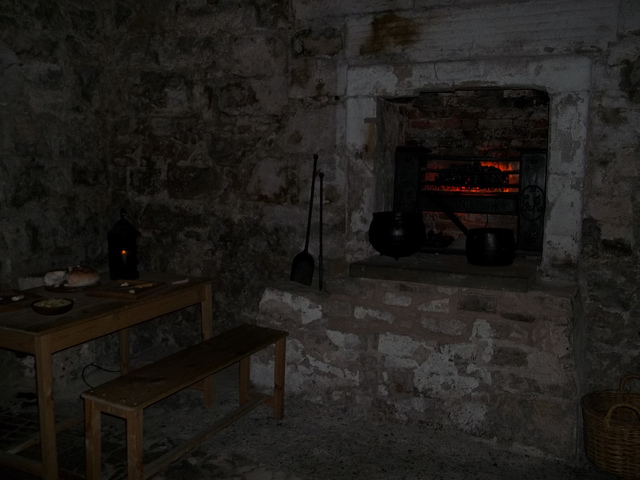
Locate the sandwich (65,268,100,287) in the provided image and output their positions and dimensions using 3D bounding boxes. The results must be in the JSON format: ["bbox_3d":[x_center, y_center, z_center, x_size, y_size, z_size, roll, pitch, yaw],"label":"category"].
[{"bbox_3d":[-1.387,0.227,2.983,0.120,0.039,0.112,-4,12,-39],"label":"sandwich"}]

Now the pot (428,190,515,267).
[{"bbox_3d":[0.980,-0.091,3.345,0.294,0.457,0.662,1,5,-17],"label":"pot"}]

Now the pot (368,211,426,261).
[{"bbox_3d":[0.488,-0.046,3.268,0.294,0.237,0.323,2,4,0],"label":"pot"}]

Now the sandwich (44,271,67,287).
[{"bbox_3d":[-1.561,0.229,3.021,0.120,0.088,0.029,-32,-7,-27],"label":"sandwich"}]

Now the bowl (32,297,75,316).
[{"bbox_3d":[-1.395,0.346,2.652,0.178,0.062,0.232,-2,6,-41],"label":"bowl"}]
